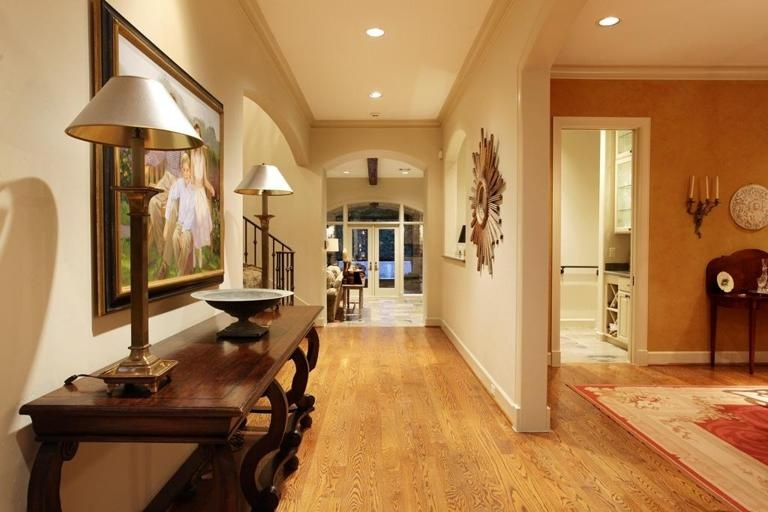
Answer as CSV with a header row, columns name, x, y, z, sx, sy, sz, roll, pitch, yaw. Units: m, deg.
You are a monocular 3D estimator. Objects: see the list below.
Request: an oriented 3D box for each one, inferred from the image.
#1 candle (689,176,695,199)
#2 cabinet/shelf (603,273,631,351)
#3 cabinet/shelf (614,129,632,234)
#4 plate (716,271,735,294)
name,x,y,z,sx,sy,sz,roll,pitch,yaw
candle,3.508,-0.773,6.050,0.112,0.253,0.054,-9,12,-42
cabinet/shelf,3.043,0.721,6.915,0.321,0.848,0.947,1,0,9
cabinet/shelf,3.169,-0.973,7.054,0.125,1.351,0.511,-1,9,-4
plate,3.887,0.295,6.052,0.179,0.231,0.149,-10,13,-44
